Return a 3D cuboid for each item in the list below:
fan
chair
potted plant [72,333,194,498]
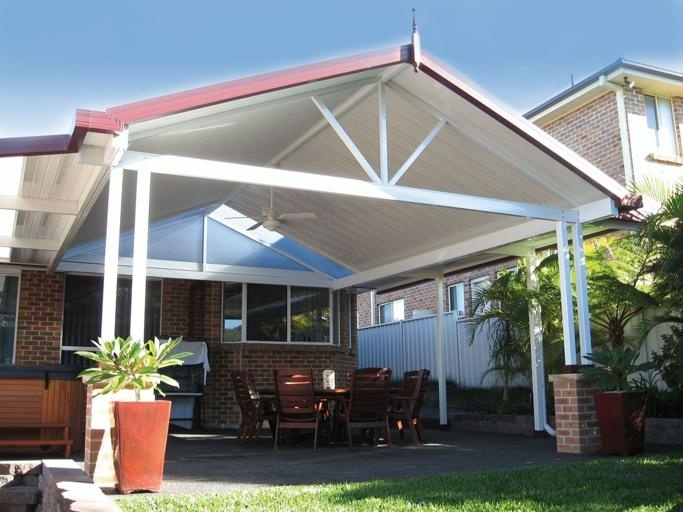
[{"bbox_3d":[-1.191,-0.708,11.652,1.119,0.574,1.146,2,-11,1],"label":"fan"},{"bbox_3d":[-0.154,2.406,10.317,2.983,1.194,2.071,1,-13,-8],"label":"chair"},{"bbox_3d":[-2.139,1.581,6.501,0.929,1.542,0.768,3,-13,-16],"label":"potted plant"}]
